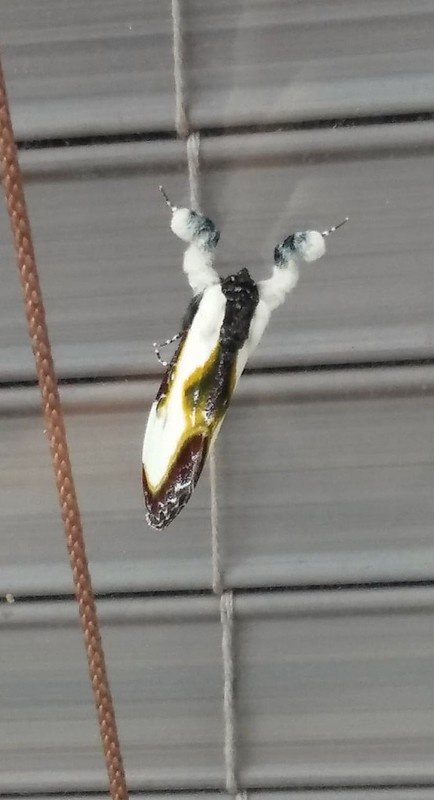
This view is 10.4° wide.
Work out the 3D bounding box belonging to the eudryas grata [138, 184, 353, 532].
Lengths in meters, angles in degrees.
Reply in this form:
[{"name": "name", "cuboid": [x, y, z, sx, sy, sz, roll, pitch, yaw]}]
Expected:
[{"name": "eudryas grata", "cuboid": [-0.013, -0.044, 3.483, 0.236, 0.125, 0.488, 11, -97, -6]}]
